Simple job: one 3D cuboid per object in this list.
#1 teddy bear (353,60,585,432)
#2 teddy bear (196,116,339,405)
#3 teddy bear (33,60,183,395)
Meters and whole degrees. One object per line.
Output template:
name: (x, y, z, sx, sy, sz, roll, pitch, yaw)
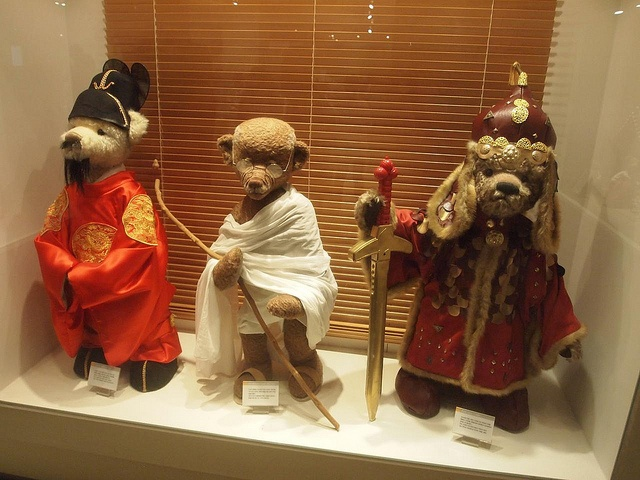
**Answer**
teddy bear: (0.712, 0.068, 2.467, 0.835, 1.483, 0.373, 3, 20, 7)
teddy bear: (-0.244, 0.102, 2.585, 0.625, 1.230, 0.420, 6, 20, 14)
teddy bear: (-0.994, -0.055, 2.653, 0.600, 1.449, 0.540, -5, 20, -15)
